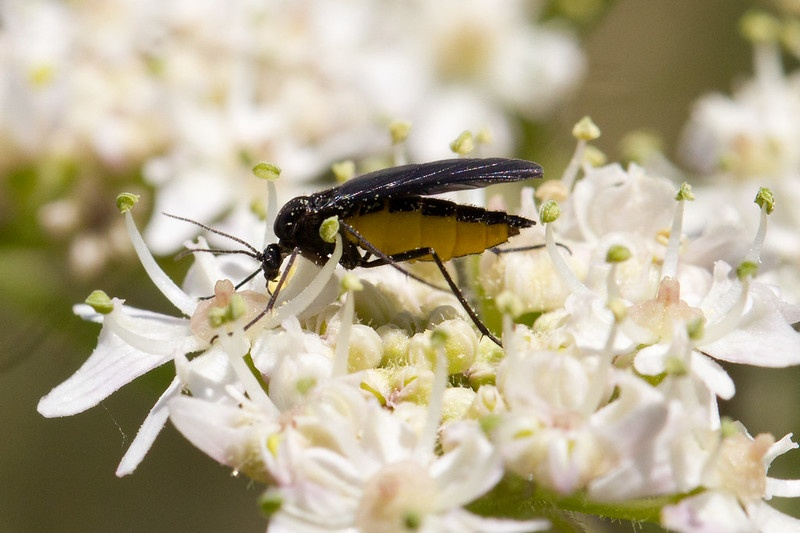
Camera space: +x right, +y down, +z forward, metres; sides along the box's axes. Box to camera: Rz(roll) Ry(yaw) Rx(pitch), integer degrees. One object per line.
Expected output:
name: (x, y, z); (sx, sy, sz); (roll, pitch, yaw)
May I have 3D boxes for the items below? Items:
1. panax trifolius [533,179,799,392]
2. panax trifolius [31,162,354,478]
panax trifolius: (0.923, 0.119, 2.975); (0.768, 0.364, 0.764); (30, 36, 25)
panax trifolius: (-0.812, 0.309, 3.393); (1.049, 0.425, 1.103); (-25, 34, 6)
